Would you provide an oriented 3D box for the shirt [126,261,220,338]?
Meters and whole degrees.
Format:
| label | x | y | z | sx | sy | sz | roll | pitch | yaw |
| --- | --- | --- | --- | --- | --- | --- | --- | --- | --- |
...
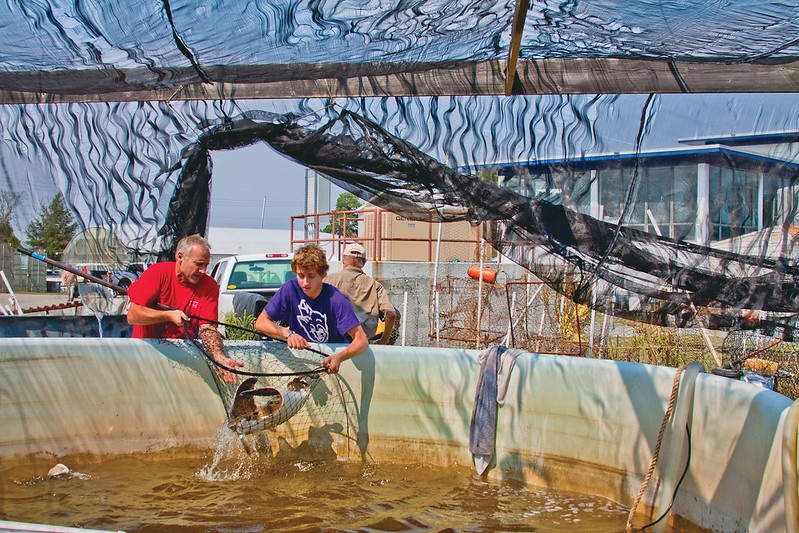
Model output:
| label | x | y | z | sx | sy | sz | roll | pitch | yaw |
| --- | --- | --- | --- | --- | --- | --- | --- | --- | --- |
| shirt | -2.039 | 0.384 | 8.578 | 0.816 | 0.898 | 0.440 | 7 | 41 | -23 |

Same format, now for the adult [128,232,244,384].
| label | x | y | z | sx | sy | sz | roll | pitch | yaw |
| --- | --- | --- | --- | --- | --- | --- | --- | --- | --- |
| adult | -1.942 | 0.353 | 8.387 | 1.328 | 1.333 | 0.692 | 21 | 20 | 35 |

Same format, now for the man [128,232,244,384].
| label | x | y | z | sx | sy | sz | roll | pitch | yaw |
| --- | --- | --- | --- | --- | --- | --- | --- | --- | --- |
| man | -1.948 | 0.369 | 8.352 | 1.344 | 1.325 | 0.696 | 16 | 13 | 41 |

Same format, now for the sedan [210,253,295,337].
| label | x | y | z | sx | sy | sz | roll | pitch | yaw |
| --- | --- | --- | --- | --- | --- | --- | --- | --- | --- |
| sedan | -1.846 | 0.284 | 11.861 | 0.779 | 0.651 | 1.415 | -2 | 4 | -20 |

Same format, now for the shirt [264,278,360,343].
| label | x | y | z | sx | sy | sz | roll | pitch | yaw |
| --- | --- | --- | --- | --- | --- | --- | --- | --- | --- |
| shirt | -0.774 | 0.491 | 8.578 | 0.900 | 0.703 | 0.471 | 10 | 31 | 15 |

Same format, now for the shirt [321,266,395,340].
| label | x | y | z | sx | sy | sz | roll | pitch | yaw |
| --- | --- | --- | --- | --- | --- | --- | --- | --- | --- |
| shirt | -0.502 | 0.387 | 9.533 | 0.830 | 0.747 | 0.359 | 5 | 0 | 1 |

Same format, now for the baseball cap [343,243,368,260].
| label | x | y | z | sx | sy | sz | roll | pitch | yaw |
| --- | --- | --- | --- | --- | --- | --- | --- | --- | --- |
| baseball cap | -0.463 | -0.157 | 9.648 | 0.211 | 0.170 | 0.348 | 5 | -2 | 4 |

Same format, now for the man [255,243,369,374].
| label | x | y | z | sx | sy | sz | roll | pitch | yaw |
| --- | --- | --- | --- | --- | --- | --- | --- | --- | --- |
| man | -0.848 | 0.441 | 8.935 | 0.884 | 1.262 | 0.872 | 5 | 46 | 6 |
